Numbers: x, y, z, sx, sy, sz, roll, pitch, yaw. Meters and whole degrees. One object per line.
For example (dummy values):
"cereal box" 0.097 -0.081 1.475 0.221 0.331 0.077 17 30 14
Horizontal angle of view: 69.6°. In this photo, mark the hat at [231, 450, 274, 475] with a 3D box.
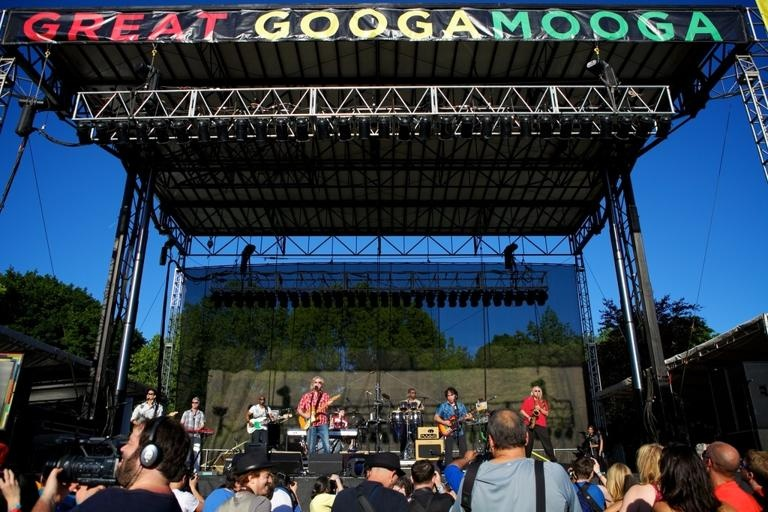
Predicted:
"hat" -1.708 2.628 7.107 0.568 0.195 0.498 -4 -11 -15

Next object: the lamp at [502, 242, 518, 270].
"lamp" 5.466 -0.129 23.939 0.579 1.105 1.509 -5 -21 11

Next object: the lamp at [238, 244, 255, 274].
"lamp" -5.394 0.112 21.493 0.347 1.158 0.448 16 -15 -21

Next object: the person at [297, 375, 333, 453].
"person" -1.757 4.355 14.664 1.134 2.344 0.719 -1 2 -1

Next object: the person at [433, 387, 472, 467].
"person" 1.768 4.317 13.792 0.966 2.031 0.564 -1 4 7

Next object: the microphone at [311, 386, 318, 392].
"microphone" -1.849 3.465 14.574 0.109 0.158 0.144 6 3 3

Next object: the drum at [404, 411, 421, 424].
"drum" 0.907 5.002 17.262 0.375 0.369 0.383 -3 -24 5

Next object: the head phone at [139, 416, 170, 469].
"head phone" -2.458 1.945 5.807 0.213 0.502 0.543 10 -27 -17

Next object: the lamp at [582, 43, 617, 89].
"lamp" 6.194 -5.477 15.771 0.655 1.668 0.499 -6 -41 -29

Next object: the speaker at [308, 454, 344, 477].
"speaker" -1.400 4.848 13.288 1.021 0.564 0.653 1 -6 0
